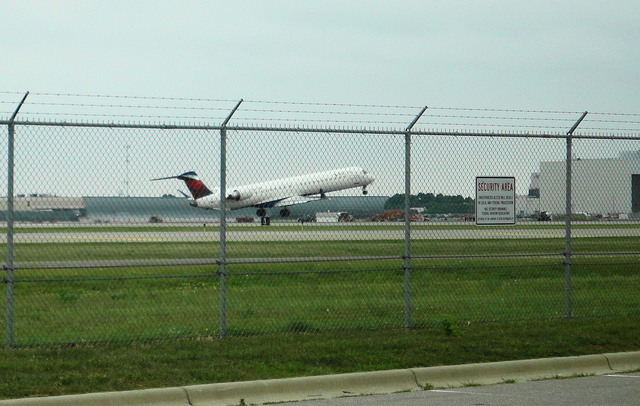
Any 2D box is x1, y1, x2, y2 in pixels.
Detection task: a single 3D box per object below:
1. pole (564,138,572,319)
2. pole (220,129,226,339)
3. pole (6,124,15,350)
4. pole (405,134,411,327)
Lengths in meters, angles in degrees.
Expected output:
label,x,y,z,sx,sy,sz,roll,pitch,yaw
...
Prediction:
label,x,y,z,sx,sy,sz,roll,pitch,yaw
pole,6.606,0.676,28.589,0.229,4.744,0.776,-1,-1,13
pole,-2.440,0.769,26.593,0.146,5.146,0.498,0,-1,-6
pole,-7.465,0.816,25.688,0.121,5.361,0.515,0,-1,-17
pole,2.213,0.712,27.407,0.144,4.894,0.385,0,-1,5
